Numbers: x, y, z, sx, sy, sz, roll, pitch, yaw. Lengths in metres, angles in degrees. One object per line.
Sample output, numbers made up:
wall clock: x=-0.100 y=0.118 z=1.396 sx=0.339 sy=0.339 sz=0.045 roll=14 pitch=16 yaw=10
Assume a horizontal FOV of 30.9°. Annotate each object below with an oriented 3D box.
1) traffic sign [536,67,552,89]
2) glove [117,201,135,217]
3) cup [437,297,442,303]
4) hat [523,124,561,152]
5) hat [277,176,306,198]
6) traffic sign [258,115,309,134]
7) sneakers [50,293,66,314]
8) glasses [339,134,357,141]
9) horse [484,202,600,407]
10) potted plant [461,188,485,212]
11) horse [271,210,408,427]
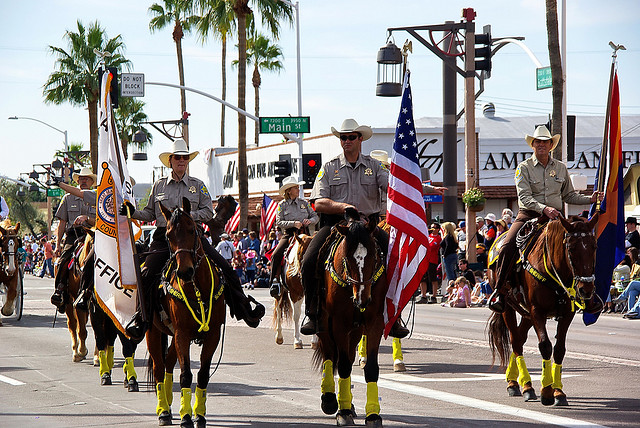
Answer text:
traffic sign: x=6.933 y=-4.242 z=35.962 sx=0.212 sy=0.631 sz=0.620 roll=-2 pitch=1 yaw=-33
glove: x=-3.509 y=-0.111 z=21.067 sx=0.216 sy=0.291 sz=0.138 roll=2 pitch=1 yaw=14
cup: x=3.740 y=2.638 z=36.290 sx=0.174 sy=0.153 sz=0.116 roll=-1 pitch=-8 yaw=4
hat: x=4.316 y=-1.512 z=22.567 sx=0.556 sy=0.482 sz=0.883 roll=-1 pitch=1 yaw=15
hat: x=-0.725 y=-0.710 z=26.848 sx=0.501 sy=0.224 sz=0.573 roll=-15 pitch=-7 yaw=-16
traffic sign: x=-1.332 y=-3.208 z=41.299 sx=1.935 sy=0.617 sz=0.838 roll=-2 pitch=1 yaw=-33
sneakers: x=-5.612 y=1.983 z=25.025 sx=0.239 sy=0.544 sz=0.238 roll=-11 pitch=15 yaw=18
glasses: x=0.541 y=-1.404 z=21.153 sx=0.298 sy=0.108 sz=0.134 roll=-1 pitch=1 yaw=-3
horse: x=4.143 y=1.724 z=21.552 sx=1.098 sy=3.425 sz=2.219 roll=-2 pitch=1 yaw=-30
potted plant: x=4.739 y=-0.455 z=35.903 sx=0.779 sy=0.748 sz=0.721 roll=0 pitch=0 yaw=-4
horse: x=0.558 y=1.765 z=20.511 sx=1.091 sy=3.776 sz=1.852 roll=-1 pitch=1 yaw=-7
